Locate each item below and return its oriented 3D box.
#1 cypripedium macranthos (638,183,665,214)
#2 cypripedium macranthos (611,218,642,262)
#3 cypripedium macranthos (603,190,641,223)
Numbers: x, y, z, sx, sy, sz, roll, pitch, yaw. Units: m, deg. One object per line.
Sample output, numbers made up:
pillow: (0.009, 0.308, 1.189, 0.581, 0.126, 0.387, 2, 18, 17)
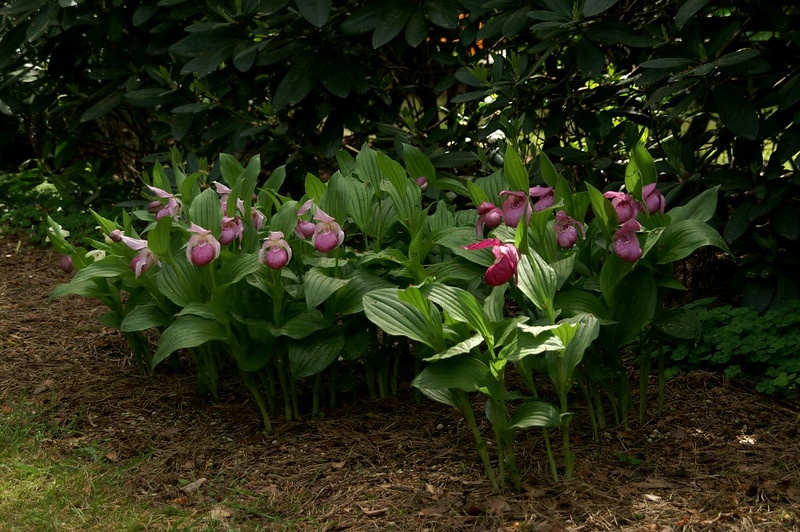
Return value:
cypripedium macranthos: (1.400, -0.370, 3.492, 0.143, 0.167, 0.085, 2, -7, -16)
cypripedium macranthos: (1.172, -0.118, 3.204, 0.138, 0.257, 0.134, 0, 28, 18)
cypripedium macranthos: (1.165, -0.298, 3.279, 0.164, 0.174, 0.306, 1, 27, 18)
